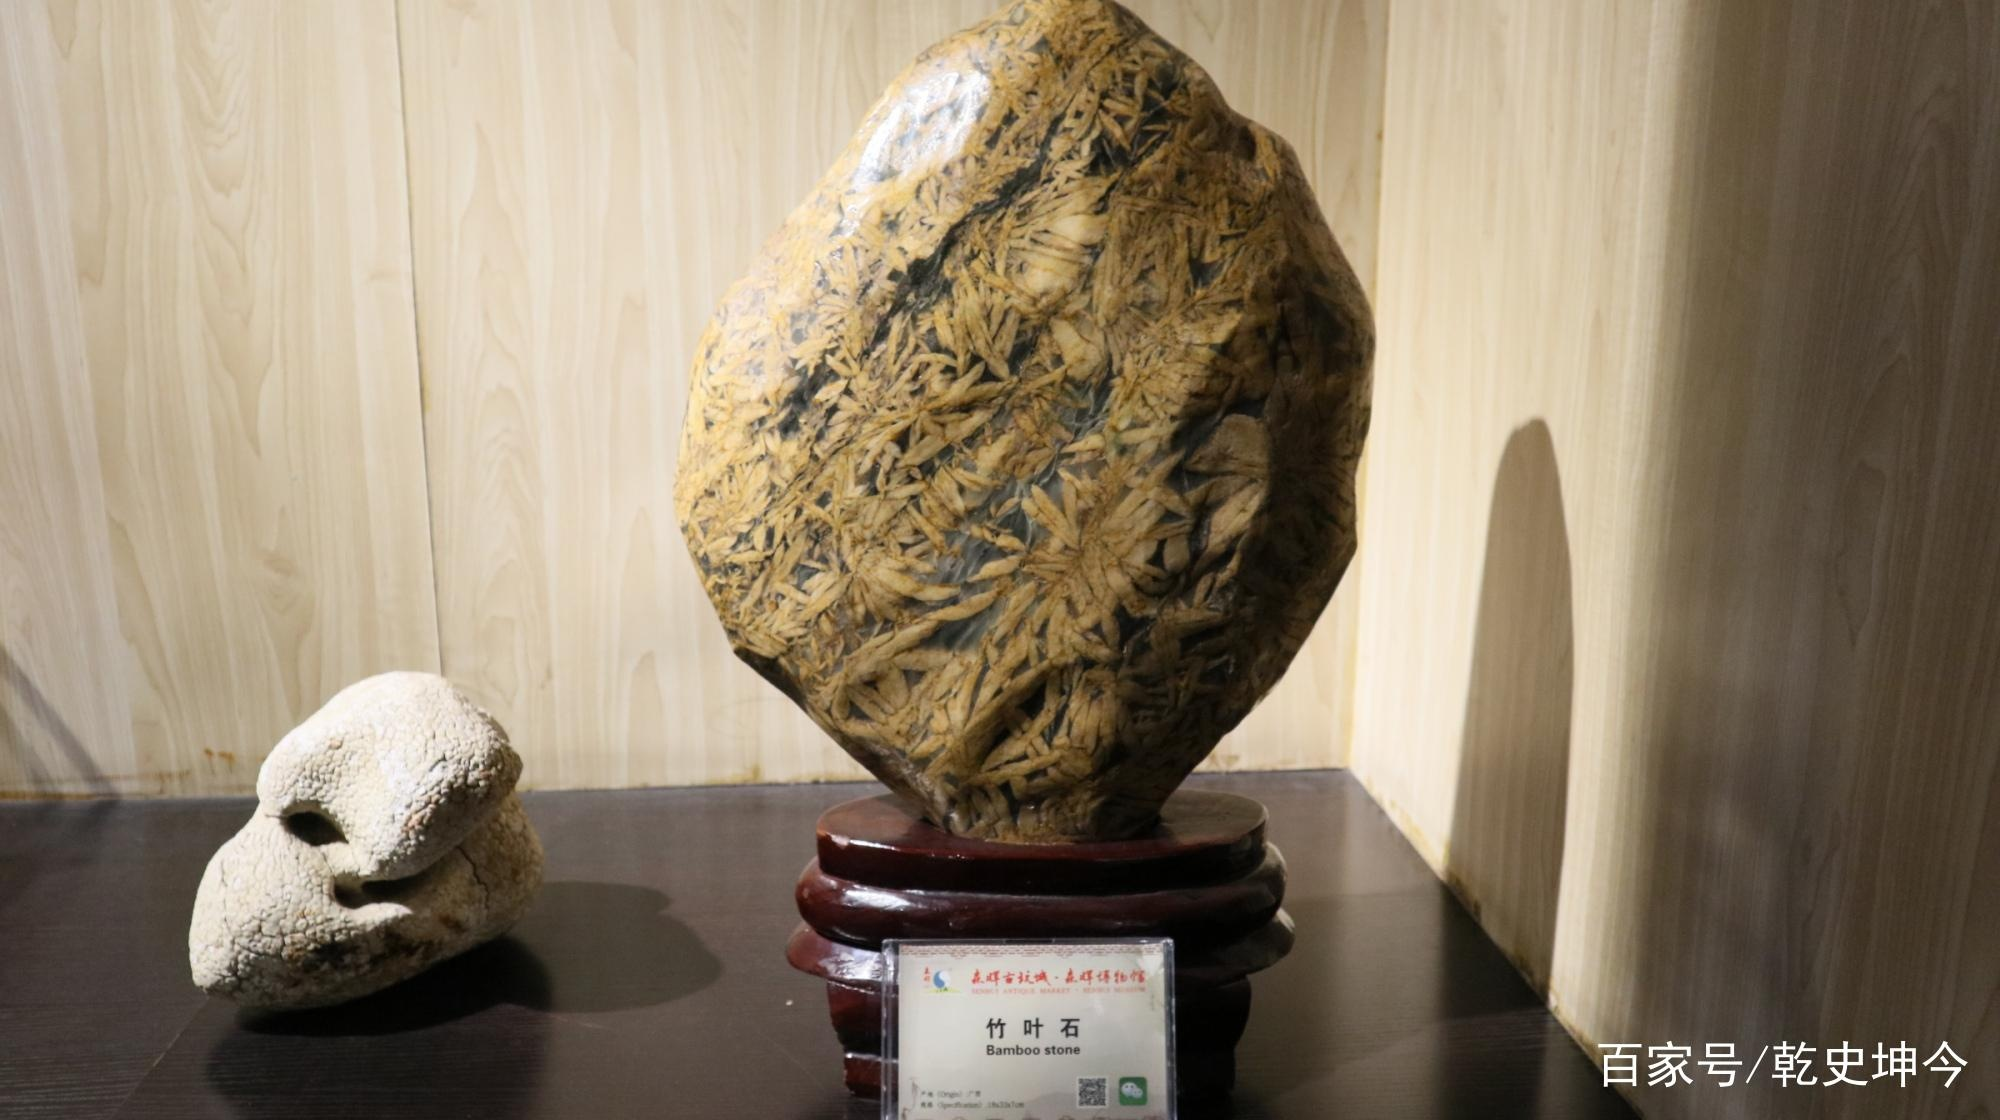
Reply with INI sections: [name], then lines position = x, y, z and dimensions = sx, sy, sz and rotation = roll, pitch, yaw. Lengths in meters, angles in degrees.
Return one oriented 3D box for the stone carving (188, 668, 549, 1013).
[stone carving]
position = -0.952, 0.399, 2.817
dimensions = 0.547, 0.484, 0.391
rotation = -11, 25, -37
